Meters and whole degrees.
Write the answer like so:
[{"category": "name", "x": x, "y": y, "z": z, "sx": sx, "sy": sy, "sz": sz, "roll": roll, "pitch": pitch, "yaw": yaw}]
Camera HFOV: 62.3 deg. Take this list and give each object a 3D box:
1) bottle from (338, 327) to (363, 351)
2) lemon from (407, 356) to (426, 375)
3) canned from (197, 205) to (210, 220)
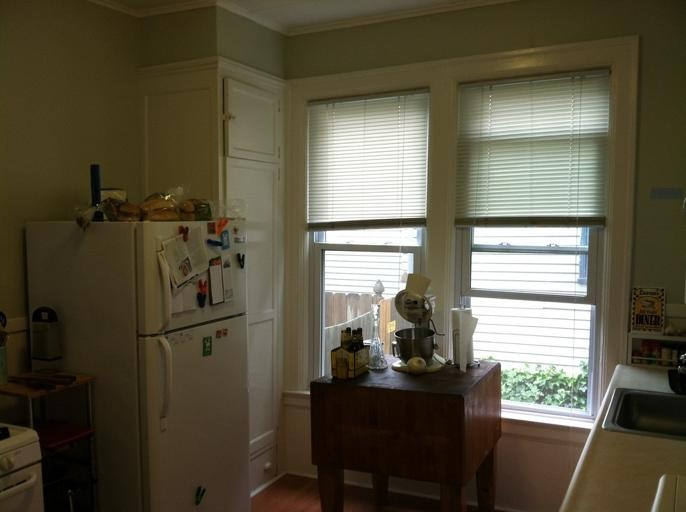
[{"category": "bottle", "x": 0.050, "y": 0.490, "z": 3.381, "sx": 0.111, "sy": 0.228, "sz": 0.117, "roll": -1, "pitch": -1, "yaw": 0}, {"category": "lemon", "x": 0.428, "y": 0.627, "z": 3.275, "sx": 0.082, "sy": 0.073, "sz": 0.086, "roll": -1, "pitch": 3, "yaw": -3}, {"category": "canned", "x": -0.800, "y": -0.253, "z": 3.281, "sx": 0.073, "sy": 0.084, "sz": 0.079, "roll": 2, "pitch": 1, "yaw": 0}]
